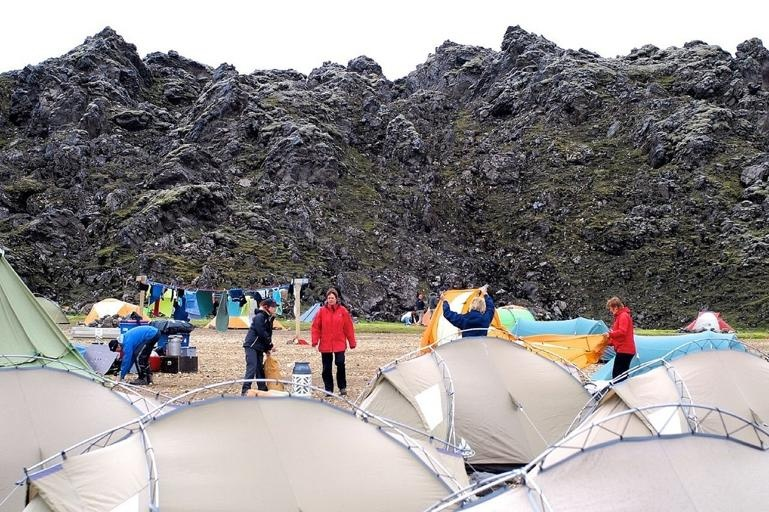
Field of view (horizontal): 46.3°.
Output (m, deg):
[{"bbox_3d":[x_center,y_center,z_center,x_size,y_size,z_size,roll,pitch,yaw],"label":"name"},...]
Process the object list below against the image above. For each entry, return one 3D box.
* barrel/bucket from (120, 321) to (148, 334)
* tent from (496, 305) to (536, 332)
[{"bbox_3d":[-19.643,5.359,69.528,1.540,0.723,1.602,0,-4,0],"label":"barrel/bucket"},{"bbox_3d":[11.210,5.408,77.021,3.087,1.023,2.148,2,26,-22],"label":"tent"}]
